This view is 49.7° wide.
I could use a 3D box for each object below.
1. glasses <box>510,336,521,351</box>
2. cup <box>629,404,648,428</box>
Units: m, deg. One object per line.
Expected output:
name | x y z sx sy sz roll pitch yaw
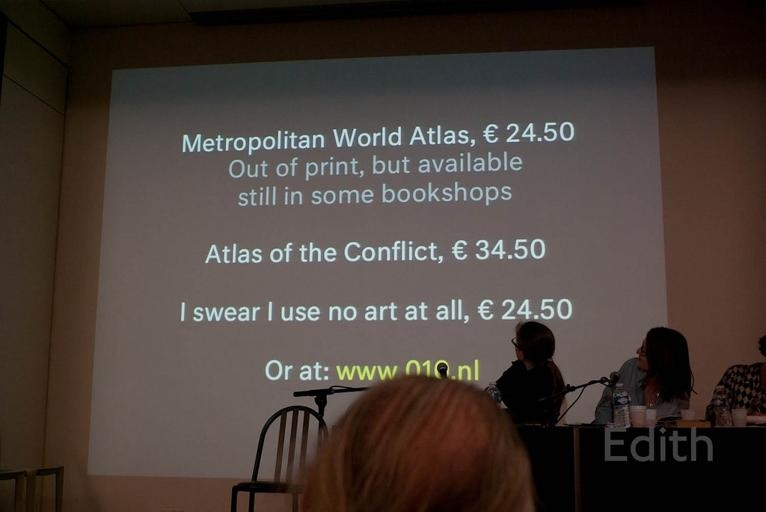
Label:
glasses | 1.019 0.673 6.407 0.043 0.083 0.059 5 -8 -30
cup | 1.578 0.995 5.126 0.112 0.132 0.118 0 -8 0
